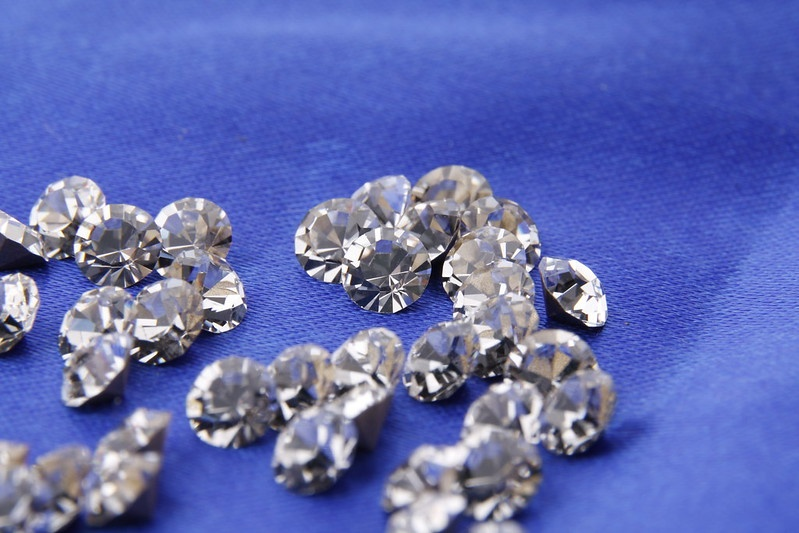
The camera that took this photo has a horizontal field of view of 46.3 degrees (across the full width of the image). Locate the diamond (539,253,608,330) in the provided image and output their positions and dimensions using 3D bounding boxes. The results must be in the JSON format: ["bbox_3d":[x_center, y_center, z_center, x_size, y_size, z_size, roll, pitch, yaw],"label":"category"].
[{"bbox_3d":[0.178,0.026,0.960,0.072,0.037,0.070,14,42,-44],"label":"diamond"}]

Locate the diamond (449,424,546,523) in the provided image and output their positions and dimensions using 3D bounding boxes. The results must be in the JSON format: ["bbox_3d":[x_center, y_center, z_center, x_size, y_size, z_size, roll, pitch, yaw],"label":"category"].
[{"bbox_3d":[0.091,0.189,0.844,0.080,0.082,0.032,8,3,-17],"label":"diamond"}]

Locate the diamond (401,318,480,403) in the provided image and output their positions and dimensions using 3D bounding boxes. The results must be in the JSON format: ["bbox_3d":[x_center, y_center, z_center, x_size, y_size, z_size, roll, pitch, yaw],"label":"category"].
[{"bbox_3d":[0.031,0.092,0.931,0.080,0.064,0.023,-36,23,-5],"label":"diamond"}]

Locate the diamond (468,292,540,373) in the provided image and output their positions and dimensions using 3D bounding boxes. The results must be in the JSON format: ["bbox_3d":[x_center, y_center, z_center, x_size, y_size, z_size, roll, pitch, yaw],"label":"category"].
[{"bbox_3d":[0.099,0.064,0.922,0.066,0.028,0.071,29,80,-14],"label":"diamond"}]
